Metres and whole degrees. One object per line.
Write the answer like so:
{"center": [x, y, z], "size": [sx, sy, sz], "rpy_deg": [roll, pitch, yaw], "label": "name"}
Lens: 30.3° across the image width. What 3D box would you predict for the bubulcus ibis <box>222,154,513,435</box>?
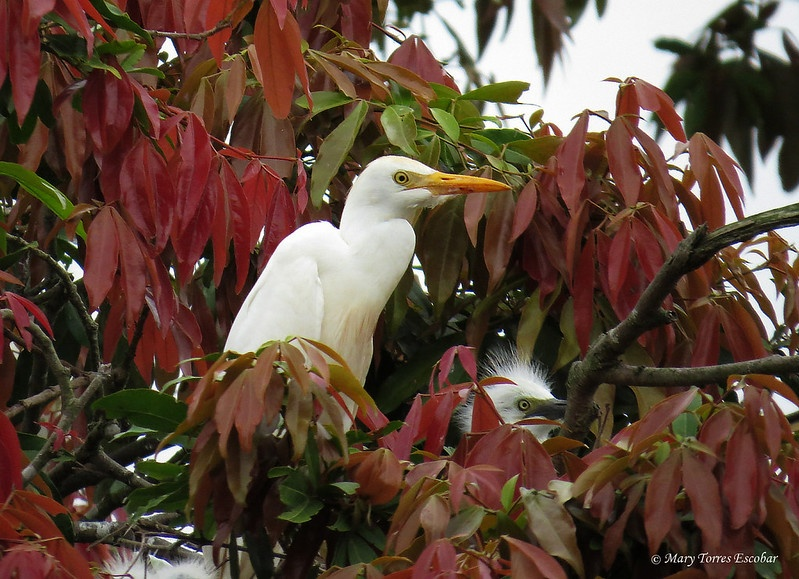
{"center": [-0.078, -0.051, 3.708], "size": [0.664, 0.497, 0.313], "rpy_deg": [-13, -32, 41], "label": "bubulcus ibis"}
